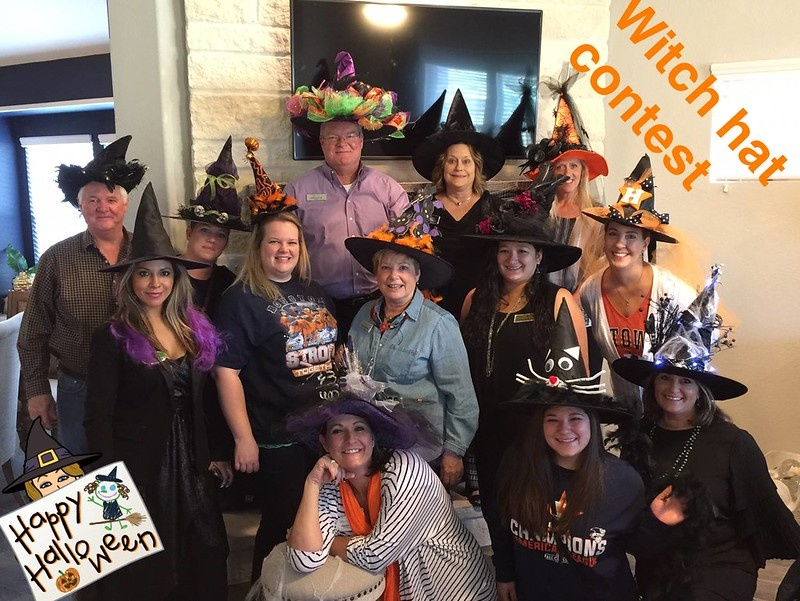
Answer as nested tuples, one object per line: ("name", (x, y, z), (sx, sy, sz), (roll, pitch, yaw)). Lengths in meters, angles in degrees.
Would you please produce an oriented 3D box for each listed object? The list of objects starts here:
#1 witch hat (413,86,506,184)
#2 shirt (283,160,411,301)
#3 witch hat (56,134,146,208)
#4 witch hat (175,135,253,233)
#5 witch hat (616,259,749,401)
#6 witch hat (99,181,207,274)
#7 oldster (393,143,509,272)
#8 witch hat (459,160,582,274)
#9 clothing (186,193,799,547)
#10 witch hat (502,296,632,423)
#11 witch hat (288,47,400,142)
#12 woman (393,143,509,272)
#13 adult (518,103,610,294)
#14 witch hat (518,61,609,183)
("witch hat", (0.331, -0.830, 3.909), (0.563, 0.478, 0.490), (-4, -9, 18))
("shirt", (-0.265, -0.318, 3.426), (0.826, 0.551, 0.247), (-4, 3, -15))
("witch hat", (-1.452, -0.689, 3.402), (0.432, 0.161, 0.354), (-33, 8, 21))
("witch hat", (-0.884, -0.590, 3.465), (0.423, 0.385, 0.409), (17, 20, 28))
("witch hat", (1.184, 0.088, 2.863), (0.497, 0.461, 0.491), (12, 9, 33))
("witch hat", (-1.047, -0.324, 3.038), (0.449, 0.353, 0.383), (-2, 1, 5))
("oldster", (0.266, -0.337, 3.839), (0.529, 1.084, 0.390), (-2, 17, -19))
("witch hat", (0.629, -0.413, 3.248), (0.592, 0.399, 0.595), (10, 3, -8))
("clothing", (0.262, 0.301, 3.059), (2.483, 1.388, 0.541), (-3, -17, -2))
("witch hat", (0.676, 0.219, 2.896), (0.463, 0.395, 0.450), (-2, -4, 21))
("witch hat", (-0.255, -1.056, 3.598), (0.615, 0.445, 0.422), (-2, 12, -10))
("woman", (0.266, -0.336, 3.844), (0.529, 1.084, 0.381), (-2, 16, -20))
("adult", (0.913, -0.548, 3.801), (0.581, 1.185, 0.479), (5, 14, 25))
("witch hat", (0.898, -0.964, 3.839), (0.495, 0.481, 0.463), (-11, 17, 19))
